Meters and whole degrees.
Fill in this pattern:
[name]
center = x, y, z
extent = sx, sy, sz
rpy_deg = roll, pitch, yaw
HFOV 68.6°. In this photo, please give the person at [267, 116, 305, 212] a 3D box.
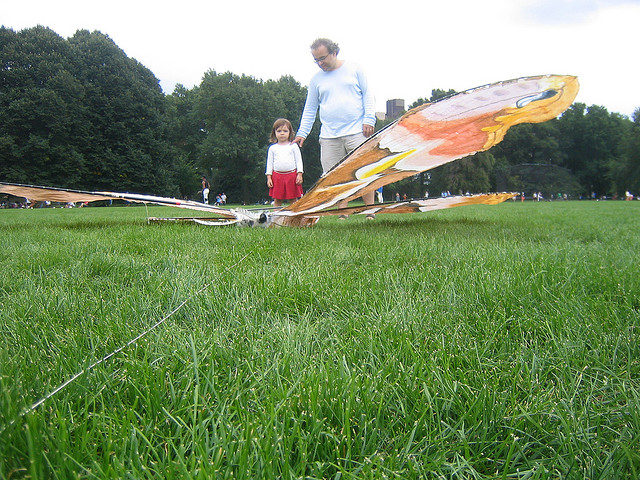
[person]
center = -0.543, -1.061, 7.344
extent = 0.511, 1.703, 0.460
rpy_deg = -1, 26, -4
